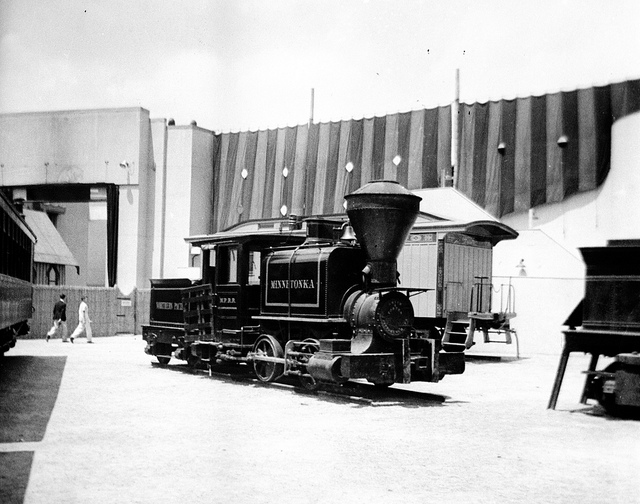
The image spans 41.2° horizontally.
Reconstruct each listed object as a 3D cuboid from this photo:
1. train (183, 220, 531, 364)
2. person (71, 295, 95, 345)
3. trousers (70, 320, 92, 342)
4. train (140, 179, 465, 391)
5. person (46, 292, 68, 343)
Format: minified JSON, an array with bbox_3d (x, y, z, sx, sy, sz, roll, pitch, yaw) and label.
[{"bbox_3d":[3.079,0.958,28.703,3.120,4.047,10.138,2,3,-20],"label":"train"},{"bbox_3d":[-8.761,2.515,31.359,0.795,1.738,2.010,0,2,-15],"label":"person"},{"bbox_3d":[-8.896,2.896,31.349,0.536,0.997,0.873,1,4,32],"label":"trousers"},{"bbox_3d":[-0.905,1.012,21.722,3.277,4.777,9.642,1,-3,-34],"label":"train"},{"bbox_3d":[-9.725,2.448,31.478,0.716,1.767,2.677,0,2,-17],"label":"person"}]
